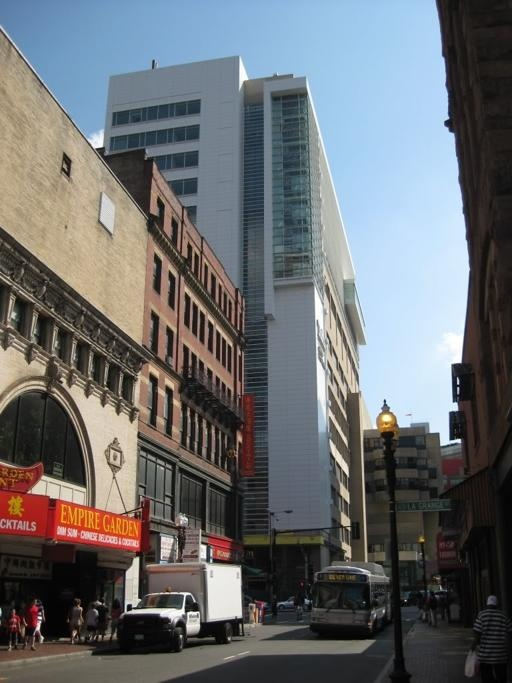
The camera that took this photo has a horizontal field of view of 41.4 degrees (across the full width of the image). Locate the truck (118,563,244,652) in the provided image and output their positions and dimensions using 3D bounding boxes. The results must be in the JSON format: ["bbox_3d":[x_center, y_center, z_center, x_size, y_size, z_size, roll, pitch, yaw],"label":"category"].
[{"bbox_3d":[-2.268,8.465,21.873,1.922,2.819,4.855,-10,-22,23],"label":"truck"}]

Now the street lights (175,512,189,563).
[{"bbox_3d":[-3.958,10.301,35.702,0.499,2.613,0.640,-8,-18,33],"label":"street lights"}]
